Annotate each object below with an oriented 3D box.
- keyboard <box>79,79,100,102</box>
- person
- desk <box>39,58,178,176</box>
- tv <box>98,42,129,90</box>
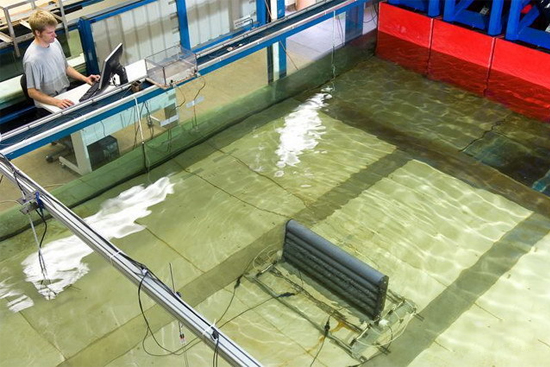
[{"bbox_3d":[-2.361,-1.140,5.337,0.333,0.068,0.189,-52,35,-12],"label":"keyboard"},{"bbox_3d":[-2.884,-1.611,5.590,0.856,1.284,0.881,16,56,-8],"label":"person"},{"bbox_3d":[-2.224,-0.825,5.523,0.749,0.924,1.469,38,63,25],"label":"desk"},{"bbox_3d":[-2.080,-1.479,5.381,0.229,0.518,0.503,8,41,5],"label":"tv"}]
